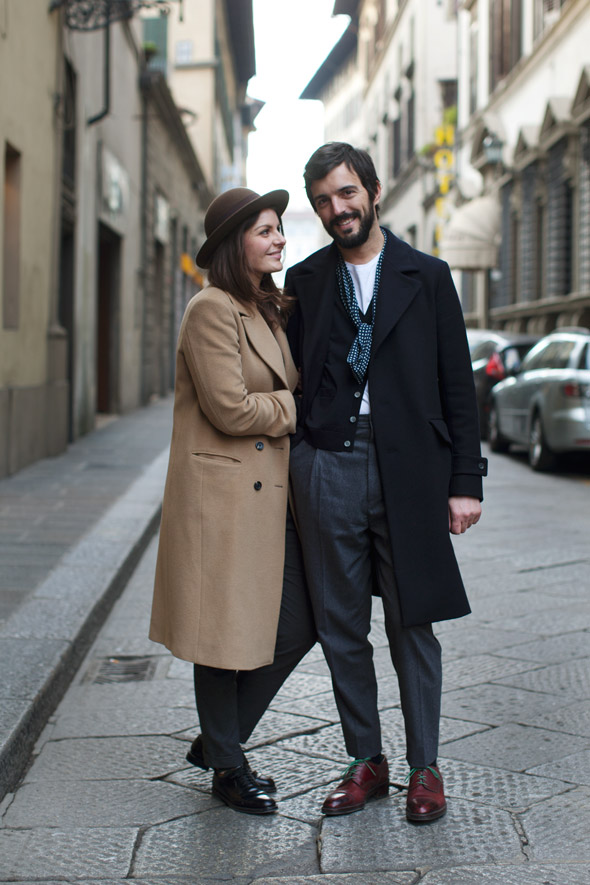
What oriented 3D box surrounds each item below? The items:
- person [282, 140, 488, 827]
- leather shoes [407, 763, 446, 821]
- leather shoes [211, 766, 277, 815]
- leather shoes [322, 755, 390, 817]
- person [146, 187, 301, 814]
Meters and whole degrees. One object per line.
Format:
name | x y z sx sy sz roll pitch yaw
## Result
person | 0.214 0.073 2.423 0.491 1.625 0.415 -1 3 5
leather shoes | 0.305 0.826 2.326 0.088 0.093 0.155 -1 2 10
leather shoes | -0.130 0.858 2.443 0.069 0.114 0.181 3 -7 -41
leather shoes | 0.147 0.830 2.414 0.080 0.110 0.241 -6 -3 41
person | -0.169 0.129 2.435 0.391 1.525 0.370 -2 3 -8
